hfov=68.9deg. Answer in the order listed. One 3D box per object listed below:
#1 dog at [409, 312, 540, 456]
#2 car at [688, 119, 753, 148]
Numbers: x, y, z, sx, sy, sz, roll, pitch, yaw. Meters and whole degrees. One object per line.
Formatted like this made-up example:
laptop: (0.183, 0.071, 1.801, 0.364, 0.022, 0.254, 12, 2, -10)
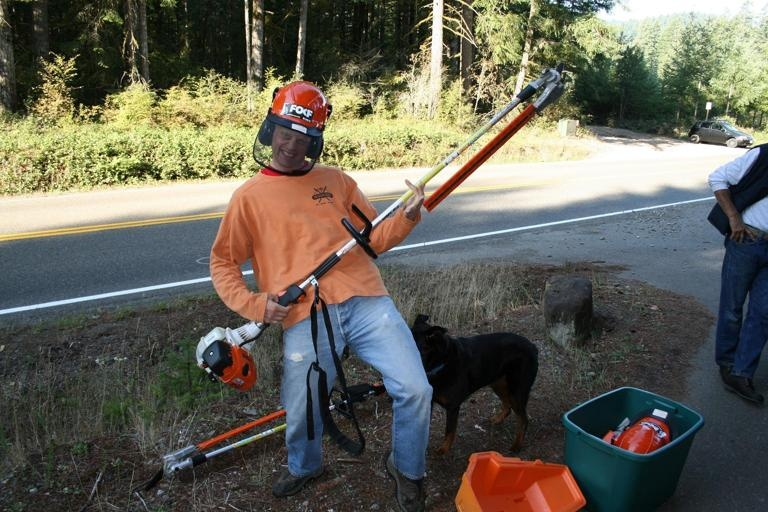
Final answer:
dog: (0.877, 1.294, 5.713, 1.412, 1.381, 0.544, 0, 13, -13)
car: (21.179, -7.644, 35.354, 1.055, 1.405, 4.004, -6, 22, -22)
